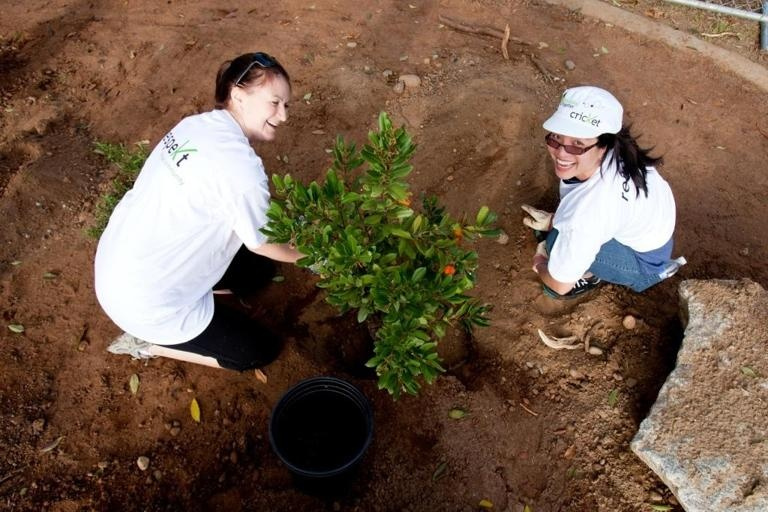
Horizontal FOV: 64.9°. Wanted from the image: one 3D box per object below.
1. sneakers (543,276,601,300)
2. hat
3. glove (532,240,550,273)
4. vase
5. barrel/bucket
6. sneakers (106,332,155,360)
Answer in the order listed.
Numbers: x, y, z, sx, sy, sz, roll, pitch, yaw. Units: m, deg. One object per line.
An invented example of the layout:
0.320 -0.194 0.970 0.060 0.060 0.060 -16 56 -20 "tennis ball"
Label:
1.891 0.320 6.291 0.630 0.271 0.238 -12 90 -2 "sneakers"
1.858 -1.256 5.516 0.608 0.357 0.479 34 60 11 "hat"
1.602 0.006 6.213 0.104 0.179 0.276 30 67 -34 "glove"
-0.549 1.672 5.501 0.867 0.655 0.868 -18 49 -16 "vase"
-0.527 1.651 5.485 0.817 0.659 0.910 8 49 11 "barrel/bucket"
-2.455 0.861 5.908 0.366 0.283 0.139 -11 28 20 "sneakers"
